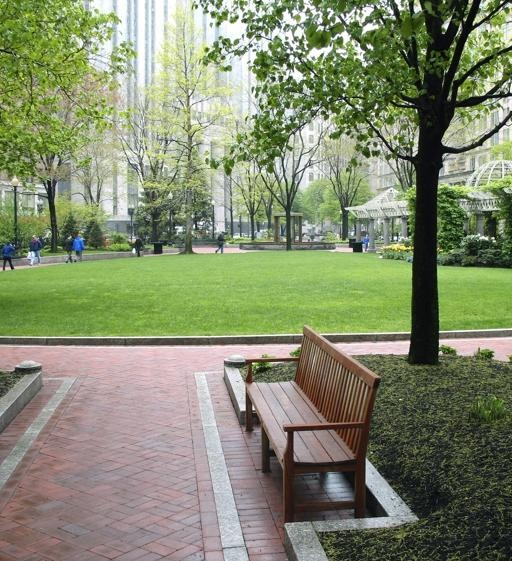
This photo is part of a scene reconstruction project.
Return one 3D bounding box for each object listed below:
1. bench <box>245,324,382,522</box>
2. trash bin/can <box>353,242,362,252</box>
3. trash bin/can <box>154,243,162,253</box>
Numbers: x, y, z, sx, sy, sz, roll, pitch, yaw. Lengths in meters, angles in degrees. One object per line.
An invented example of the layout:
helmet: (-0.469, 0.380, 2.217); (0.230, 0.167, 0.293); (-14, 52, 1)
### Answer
bench: (0.379, 1.091, 4.444); (0.693, 1.056, 1.966); (-5, 3, -6)
trash bin/can: (9.179, -2.969, 50.557); (0.842, 1.201, 0.827); (3, 4, 17)
trash bin/can: (-8.290, -2.678, 46.981); (0.775, 0.897, 0.753); (-2, 7, -15)
